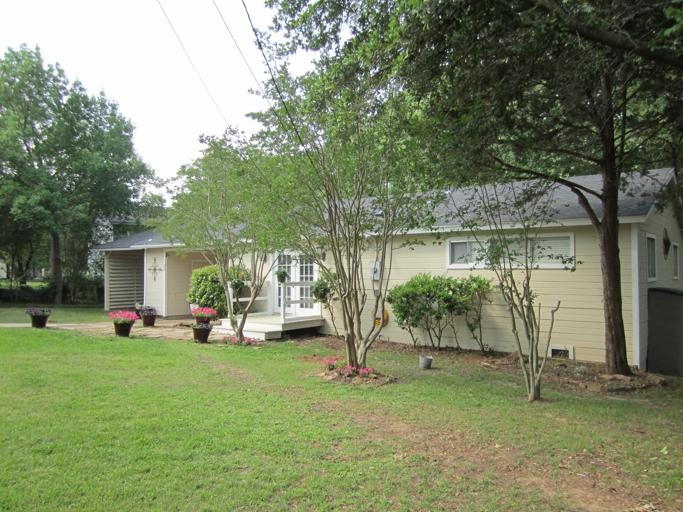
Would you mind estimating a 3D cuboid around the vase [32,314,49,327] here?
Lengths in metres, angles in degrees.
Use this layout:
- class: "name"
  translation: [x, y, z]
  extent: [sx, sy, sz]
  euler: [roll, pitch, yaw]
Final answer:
- class: "vase"
  translation: [-8.879, 1.917, 15.594]
  extent: [0.354, 0.291, 0.374]
  euler: [0, -3, 13]

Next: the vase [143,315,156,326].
- class: "vase"
  translation: [-6.333, 2.143, 17.552]
  extent: [0.356, 0.287, 0.380]
  euler: [-2, -11, 10]

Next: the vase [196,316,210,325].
- class: "vase"
  translation: [-3.932, 1.848, 15.081]
  extent: [0.309, 0.159, 0.306]
  euler: [7, -11, -39]

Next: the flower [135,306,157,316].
- class: "flower"
  translation: [-6.598, 1.863, 17.939]
  extent: [0.703, 0.343, 0.902]
  euler: [5, -9, -29]

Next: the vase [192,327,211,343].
- class: "vase"
  translation: [-3.714, 2.102, 14.071]
  extent: [0.392, 0.318, 0.415]
  euler: [1, -7, 0]

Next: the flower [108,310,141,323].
- class: "flower"
  translation: [-6.161, 1.748, 15.021]
  extent: [0.624, 0.251, 0.771]
  euler: [-6, 10, -33]

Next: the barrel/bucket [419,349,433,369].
- class: "barrel/bucket"
  translation: [1.830, 2.304, 11.496]
  extent: [0.263, 0.281, 0.453]
  euler: [1, 8, 8]

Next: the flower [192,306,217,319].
- class: "flower"
  translation: [-3.956, 1.663, 15.389]
  extent: [0.473, 0.277, 0.492]
  euler: [2, 0, -35]

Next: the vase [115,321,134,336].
- class: "vase"
  translation: [-6.100, 2.039, 14.849]
  extent: [0.416, 0.339, 0.432]
  euler: [3, 0, 35]
